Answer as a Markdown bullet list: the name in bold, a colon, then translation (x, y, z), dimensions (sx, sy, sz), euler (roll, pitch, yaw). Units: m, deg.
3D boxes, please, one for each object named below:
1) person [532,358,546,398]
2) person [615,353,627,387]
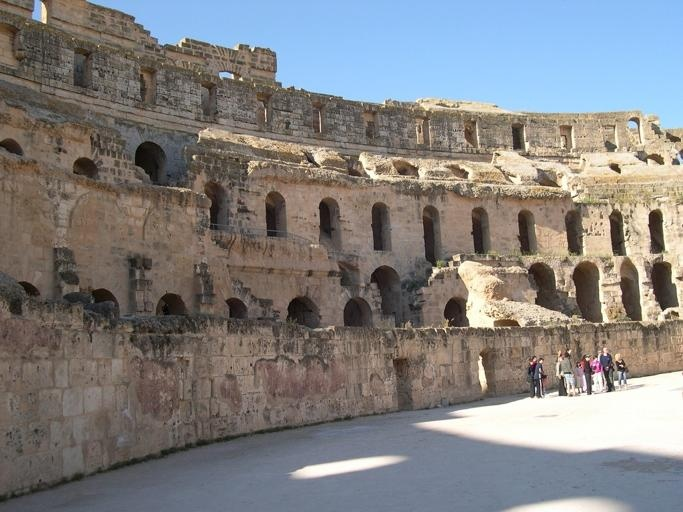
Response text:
- **person**: translation (6.122, 3.779, 23.072), dimensions (0.343, 1.175, 0.924), euler (-4, -8, 14)
- **person**: translation (9.110, 3.708, 24.186), dimensions (0.292, 1.026, 0.995), euler (-5, -9, 19)
